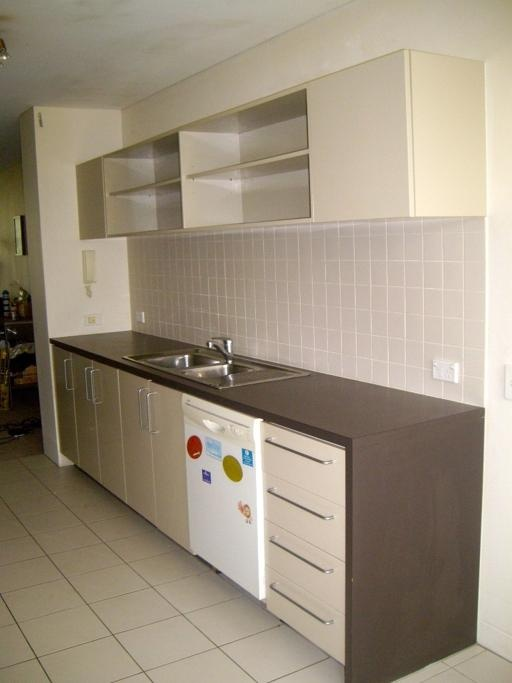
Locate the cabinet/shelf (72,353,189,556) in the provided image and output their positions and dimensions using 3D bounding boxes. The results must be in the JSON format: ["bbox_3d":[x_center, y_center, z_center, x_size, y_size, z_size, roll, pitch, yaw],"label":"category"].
[{"bbox_3d":[-0.654,0.605,2.845,0.453,0.583,0.821,-3,13,-40],"label":"cabinet/shelf"}]

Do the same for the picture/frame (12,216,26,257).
[{"bbox_3d":[-2.930,-1.294,6.617,0.095,0.504,0.650,-3,4,-28],"label":"picture/frame"}]
